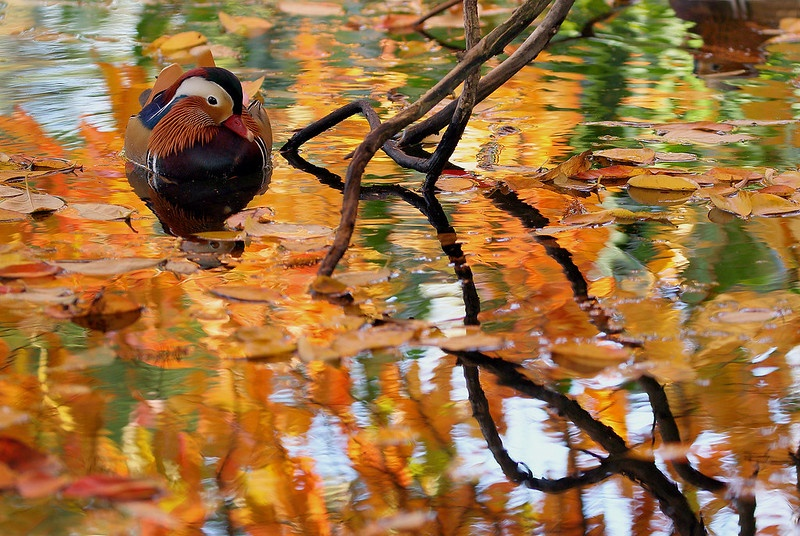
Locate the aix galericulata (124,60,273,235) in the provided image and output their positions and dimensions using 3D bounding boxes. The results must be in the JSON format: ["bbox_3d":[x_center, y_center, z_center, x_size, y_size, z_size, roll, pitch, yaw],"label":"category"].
[{"bbox_3d":[-0.738,-0.447,3.098,0.714,0.779,0.497,-4,-50,-14],"label":"aix galericulata"}]
